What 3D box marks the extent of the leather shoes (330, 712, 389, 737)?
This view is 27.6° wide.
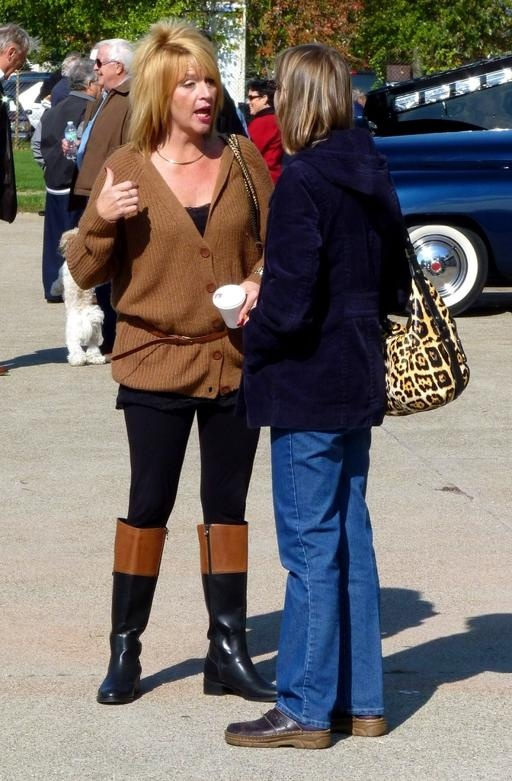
[{"bbox_3d":[0.267,0.879,2.761,0.157,0.053,0.058,-5,-2,23],"label":"leather shoes"}]

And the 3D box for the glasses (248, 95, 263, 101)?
[{"bbox_3d":[-0.011,-3.192,11.309,0.136,0.032,0.117,4,2,-3],"label":"glasses"}]

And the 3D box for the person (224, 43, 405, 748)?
[{"bbox_3d":[0.168,0.043,2.656,0.412,1.782,0.439,3,15,7],"label":"person"}]

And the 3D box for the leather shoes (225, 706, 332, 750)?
[{"bbox_3d":[0.052,0.883,2.740,0.309,0.102,0.102,2,-8,7],"label":"leather shoes"}]

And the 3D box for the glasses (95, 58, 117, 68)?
[{"bbox_3d":[-0.967,-2.087,6.653,0.094,0.024,0.068,-2,5,-21],"label":"glasses"}]
